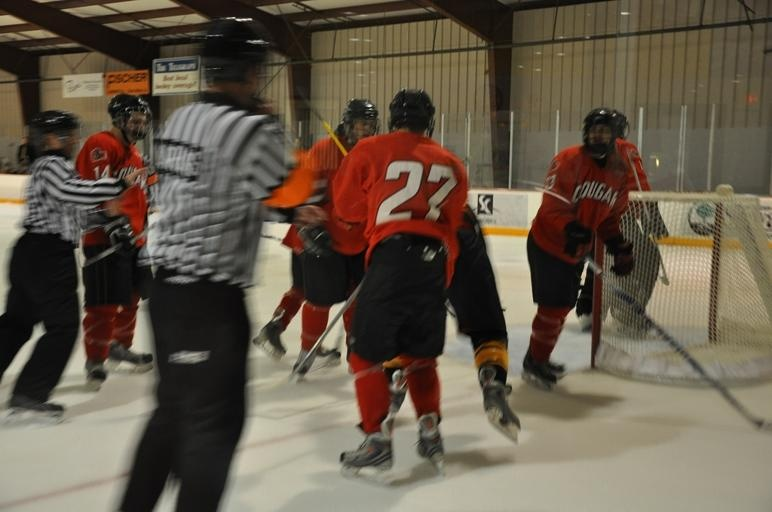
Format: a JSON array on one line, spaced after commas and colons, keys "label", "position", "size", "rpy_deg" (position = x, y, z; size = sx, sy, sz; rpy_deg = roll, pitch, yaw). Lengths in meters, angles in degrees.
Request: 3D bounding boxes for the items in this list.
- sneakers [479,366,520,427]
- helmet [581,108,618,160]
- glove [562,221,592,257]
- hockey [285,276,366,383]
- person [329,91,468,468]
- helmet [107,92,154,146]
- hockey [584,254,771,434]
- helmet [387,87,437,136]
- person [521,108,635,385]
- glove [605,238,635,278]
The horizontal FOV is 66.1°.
[{"label": "sneakers", "position": [0.506, 0.627, 2.674], "size": [0.111, 0.119, 0.351], "rpy_deg": [13, 36, -7]}, {"label": "helmet", "position": [1.271, -0.724, 3.516], "size": [0.206, 0.291, 0.286], "rpy_deg": [-1, 7, 20]}, {"label": "glove", "position": [1.129, -0.101, 3.480], "size": [0.146, 0.211, 0.064], "rpy_deg": [13, 13, 0]}, {"label": "hockey", "position": [-0.379, 0.455, 3.643], "size": [0.052, 1.080, 0.157], "rpy_deg": [40, 39, -9]}, {"label": "person", "position": [0.071, 0.190, 2.696], "size": [0.617, 1.477, 0.369], "rpy_deg": [-1, 9, -6]}, {"label": "helmet", "position": [-1.552, -0.819, 3.689], "size": [0.315, 0.316, 0.255], "rpy_deg": [14, 3, -17]}, {"label": "hockey", "position": [1.842, 0.559, 3.683], "size": [0.272, 0.081, 1.777], "rpy_deg": [-42, 32, 2]}, {"label": "helmet", "position": [0.116, -0.654, 2.784], "size": [0.185, 0.224, 0.223], "rpy_deg": [5, 30, -2]}, {"label": "person", "position": [1.189, -0.057, 3.656], "size": [0.688, 1.654, 0.360], "rpy_deg": [-1, 10, -11]}, {"label": "glove", "position": [1.495, 0.006, 3.788], "size": [0.112, 0.235, 0.165], "rpy_deg": [-16, 9, -42]}]
